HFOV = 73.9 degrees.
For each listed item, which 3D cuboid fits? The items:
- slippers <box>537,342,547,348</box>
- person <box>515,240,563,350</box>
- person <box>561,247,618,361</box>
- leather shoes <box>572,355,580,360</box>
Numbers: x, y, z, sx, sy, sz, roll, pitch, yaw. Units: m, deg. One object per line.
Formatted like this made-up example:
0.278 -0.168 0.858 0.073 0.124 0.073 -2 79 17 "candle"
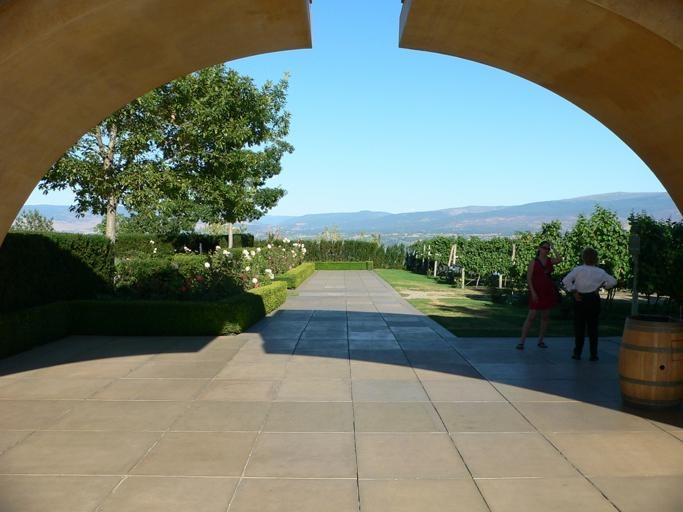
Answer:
3.904 1.723 8.843 0.096 0.069 0.168 0 -4 -1 "slippers"
3.693 0.740 8.530 0.685 2.046 0.920 1 3 21 "person"
4.415 0.810 8.116 0.772 1.930 1.434 2 3 28 "person"
4.126 1.761 7.962 0.069 0.072 0.112 -1 -11 3 "leather shoes"
